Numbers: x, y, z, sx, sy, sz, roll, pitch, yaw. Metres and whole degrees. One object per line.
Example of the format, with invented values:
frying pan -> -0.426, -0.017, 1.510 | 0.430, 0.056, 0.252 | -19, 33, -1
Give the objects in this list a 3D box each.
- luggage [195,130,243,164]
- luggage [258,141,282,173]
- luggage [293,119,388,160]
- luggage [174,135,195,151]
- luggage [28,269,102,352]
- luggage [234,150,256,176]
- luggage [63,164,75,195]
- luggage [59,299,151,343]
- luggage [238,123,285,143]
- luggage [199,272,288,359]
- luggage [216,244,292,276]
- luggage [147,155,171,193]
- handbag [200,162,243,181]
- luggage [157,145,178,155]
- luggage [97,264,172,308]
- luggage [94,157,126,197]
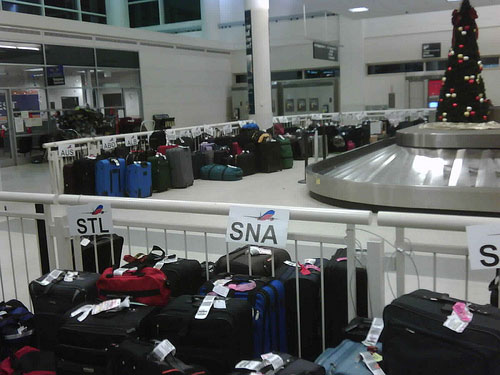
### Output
luggage -> -1.054, -1.107, 11.695 | 1.674, 0.895, 1.018 | -4, 4, -31
luggage -> 0.547, -0.836, 11.679 | 0.618, 0.830, 0.580 | -8, 5, -29
luggage -> 2.809, -1.637, 13.900 | 1.740, 0.831, 2.370 | 6, 14, 43
luggage -> -1.719, -1.198, 11.238 | 0.552, 0.505, 0.502 | 0, 18, -3
luggage -> -1.161, 0.742, 2.750 | 0.442, 0.529, 0.466 | 1, 1, 8
luggage -> -0.021, -0.642, 11.469 | 0.357, 0.611, 0.656 | -4, 1, -2
luggage -> -3.719, -0.174, 8.627 | 0.248, 0.594, 0.164 | 2, 10, 35
luggage -> -0.750, 0.705, 2.236 | 0.239, 0.061, 0.236 | 0, 12, 18
luggage -> 0.439, -1.586, 12.380 | 0.894, 0.394, 1.201 | 9, 12, 41
luggage -> 0.017, 0.714, 2.621 | 0.519, 0.571, 0.351 | 1, 6, 30
luggage -> -0.013, 0.524, 3.035 | 0.319, 0.258, 0.384 | 1, 3, 23
luggage -> -1.993, -0.295, 9.178 | 0.442, 1.072, 0.695 | -1, 8, 0
handbag -> -0.717, -0.432, 10.580 | 0.860, 0.333, 0.440 | 6, 10, 20
luggage -> -1.990, -0.906, 9.878 | 0.430, 0.294, 0.300 | -1, 1, 7
luggage -> -0.662, 0.570, 2.451 | 0.266, 0.186, 0.265 | 4, 5, 25
luggage -> -2.804, -0.187, 8.525 | 0.647, 0.787, 0.368 | -8, 9, -31
